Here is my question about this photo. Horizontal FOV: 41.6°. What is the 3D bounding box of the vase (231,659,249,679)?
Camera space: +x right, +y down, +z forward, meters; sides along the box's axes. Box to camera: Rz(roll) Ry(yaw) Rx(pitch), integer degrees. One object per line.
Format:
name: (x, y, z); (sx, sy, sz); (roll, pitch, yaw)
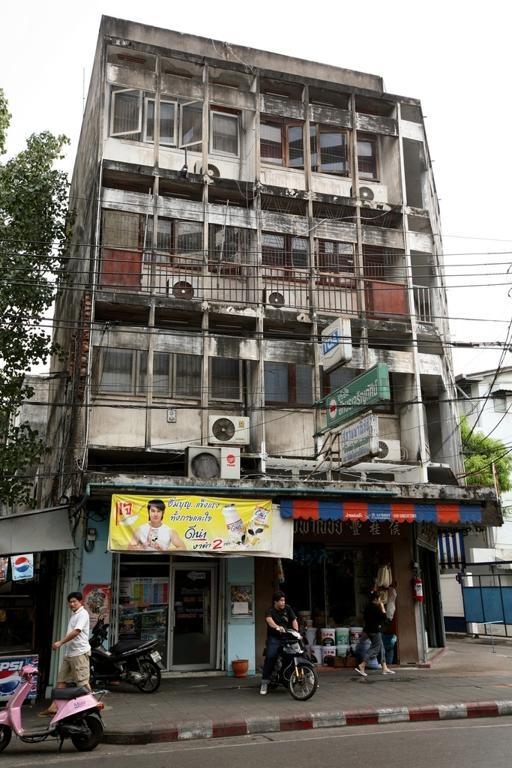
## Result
vase: (-0.331, 5.272, 12.463); (0.303, 0.294, 0.325); (-11, -24, 20)

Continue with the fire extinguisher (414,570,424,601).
fire extinguisher: (3.477, 4.411, 14.628); (0.150, 0.627, 0.307); (-9, -21, 20)

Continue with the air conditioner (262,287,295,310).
air conditioner: (0.542, -2.103, 16.433); (0.658, 0.641, 0.170); (1, -8, -39)

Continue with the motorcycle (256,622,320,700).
motorcycle: (0.535, 4.087, 9.823); (0.528, 0.928, 0.894); (0, -20, -3)

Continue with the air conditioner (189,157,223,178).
air conditioner: (-1.311, -5.426, 16.878); (0.691, 0.673, 0.167); (3, -17, -29)

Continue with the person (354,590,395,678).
person: (2.218, 4.742, 12.921); (0.640, 1.550, 1.734); (-5, -21, 9)

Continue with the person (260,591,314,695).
person: (0.437, 4.116, 10.081); (0.454, 0.995, 1.630); (11, -22, -18)

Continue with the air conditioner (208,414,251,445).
air conditioner: (-0.583, 1.022, 14.743); (0.972, 0.755, 0.592); (5, -23, -14)

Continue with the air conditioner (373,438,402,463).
air conditioner: (3.219, 1.611, 16.497); (0.345, 0.705, 0.994); (-16, -25, 34)

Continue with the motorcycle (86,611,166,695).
motorcycle: (-2.205, 4.536, 10.747); (1.536, 1.137, 0.615); (-1, -33, -3)

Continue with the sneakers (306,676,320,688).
sneakers: (0.765, 4.199, 9.483); (0.047, 0.145, 0.150); (11, -24, -31)

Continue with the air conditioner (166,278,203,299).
air conditioner: (-1.692, -2.157, 15.727); (0.938, 0.536, 0.705); (1, 24, -7)

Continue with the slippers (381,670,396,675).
slippers: (2.486, 5.462, 12.722); (0.225, 0.088, 0.128); (-4, -3, 4)
